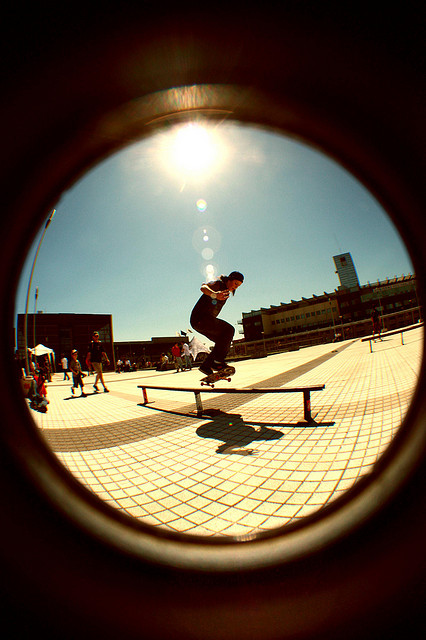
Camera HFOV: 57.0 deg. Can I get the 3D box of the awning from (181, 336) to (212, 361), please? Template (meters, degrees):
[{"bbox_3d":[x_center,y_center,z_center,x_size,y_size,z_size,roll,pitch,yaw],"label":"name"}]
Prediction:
[{"bbox_3d":[-0.268,0.486,6.968,0.524,0.256,0.550,-7,-9,37],"label":"awning"}]

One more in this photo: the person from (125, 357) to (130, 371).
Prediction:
[{"bbox_3d":[-3.920,2.132,18.245,0.203,0.533,0.767,-6,-2,-13],"label":"person"}]
